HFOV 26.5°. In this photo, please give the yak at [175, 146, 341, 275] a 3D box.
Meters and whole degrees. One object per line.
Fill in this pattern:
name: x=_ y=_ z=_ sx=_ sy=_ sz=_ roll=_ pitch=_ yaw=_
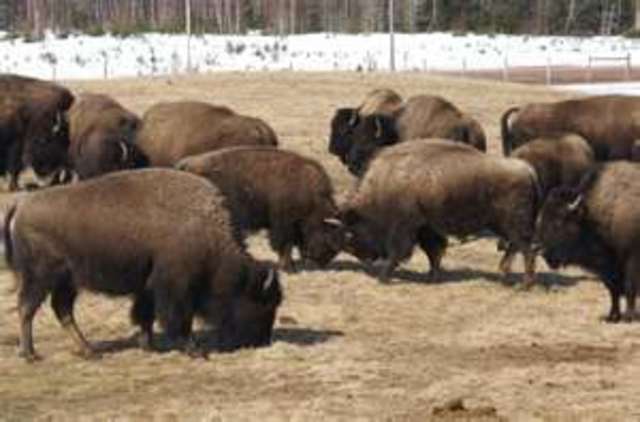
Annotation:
yak: x=-2.296 y=0.202 z=46.545 sx=6.816 sy=4.289 sz=2.165 roll=3 pitch=-2 yaw=-20
